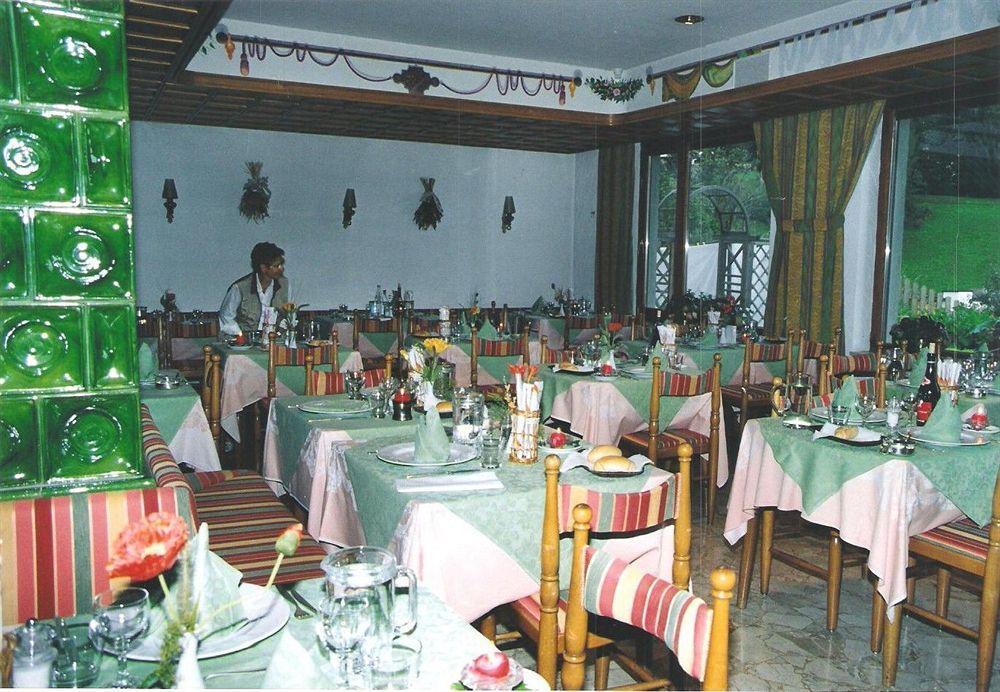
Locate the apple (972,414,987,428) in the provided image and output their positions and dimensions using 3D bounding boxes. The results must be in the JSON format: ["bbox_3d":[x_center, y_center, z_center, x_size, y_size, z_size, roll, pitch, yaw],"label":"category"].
[{"bbox_3d":[2.604,0.409,4.404,0.068,0.067,0.067,-26,27,-37],"label":"apple"}]

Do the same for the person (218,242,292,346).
[{"bbox_3d":[-2.298,-0.539,7.893,0.735,1.096,0.691,1,36,-22],"label":"person"}]

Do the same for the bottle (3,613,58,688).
[{"bbox_3d":[-1.348,0.873,2.303,0.148,0.184,0.168,-4,13,-25],"label":"bottle"}]

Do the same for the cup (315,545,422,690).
[{"bbox_3d":[-0.384,0.821,2.492,0.398,0.437,0.260,1,0,-14],"label":"cup"}]

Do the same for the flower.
[{"bbox_3d":[-0.981,0.702,2.373,0.252,0.348,0.239,-6,21,11],"label":"flower"}]

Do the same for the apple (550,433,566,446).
[{"bbox_3d":[0.268,0.442,3.805,0.057,0.075,0.060,-2,7,-8],"label":"apple"}]

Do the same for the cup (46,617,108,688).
[{"bbox_3d":[-1.267,0.909,2.479,0.176,0.187,0.162,3,4,0],"label":"cup"}]

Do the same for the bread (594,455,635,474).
[{"bbox_3d":[0.507,0.525,3.599,0.189,0.061,0.089,0,12,-6],"label":"bread"}]

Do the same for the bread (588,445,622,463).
[{"bbox_3d":[0.475,0.482,3.675,0.101,0.061,0.085,0,-4,-28],"label":"bread"}]
